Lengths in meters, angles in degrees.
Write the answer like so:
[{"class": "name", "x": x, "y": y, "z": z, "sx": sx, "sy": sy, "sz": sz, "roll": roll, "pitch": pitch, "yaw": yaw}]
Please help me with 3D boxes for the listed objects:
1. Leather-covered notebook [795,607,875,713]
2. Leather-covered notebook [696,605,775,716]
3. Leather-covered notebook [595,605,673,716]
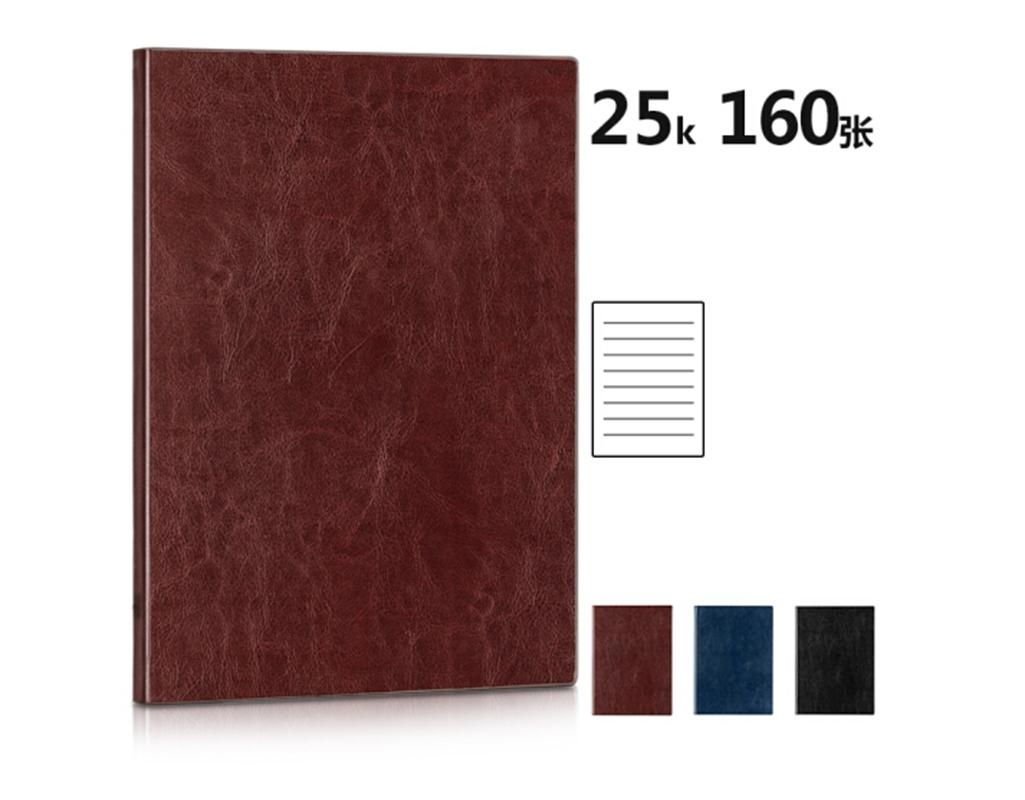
[{"class": "Leather-covered notebook", "x": 0.671, "y": 0.536, "z": 2.360, "sx": 0.168, "sy": 0.220, "sz": 0.040, "roll": 0, "pitch": 8, "yaw": -1}, {"class": "Leather-covered notebook", "x": 0.458, "y": 0.533, "z": 2.348, "sx": 0.160, "sy": 0.218, "sz": 0.034, "roll": 1, "pitch": 8, "yaw": 0}, {"class": "Leather-covered notebook", "x": 0.248, "y": 0.538, "z": 2.357, "sx": 0.163, "sy": 0.215, "sz": 0.065, "roll": 1, "pitch": 9, "yaw": 4}]
